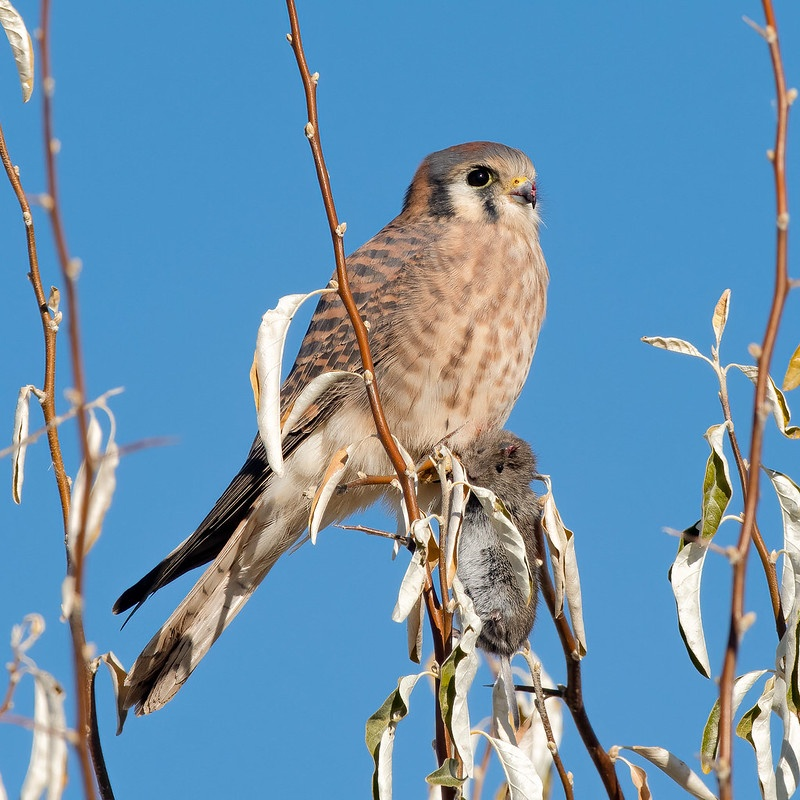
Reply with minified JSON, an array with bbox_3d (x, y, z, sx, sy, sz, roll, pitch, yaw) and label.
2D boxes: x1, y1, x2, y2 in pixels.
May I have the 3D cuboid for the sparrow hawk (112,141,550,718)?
[{"bbox_3d":[-0.034,0.128,3.259,0.702,0.977,0.377,-27,-49,12],"label":"sparrow hawk"}]

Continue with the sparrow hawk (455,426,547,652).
[{"bbox_3d":[0.196,0.302,3.040,0.092,0.420,0.160,-12,-25,14],"label":"sparrow hawk"}]
